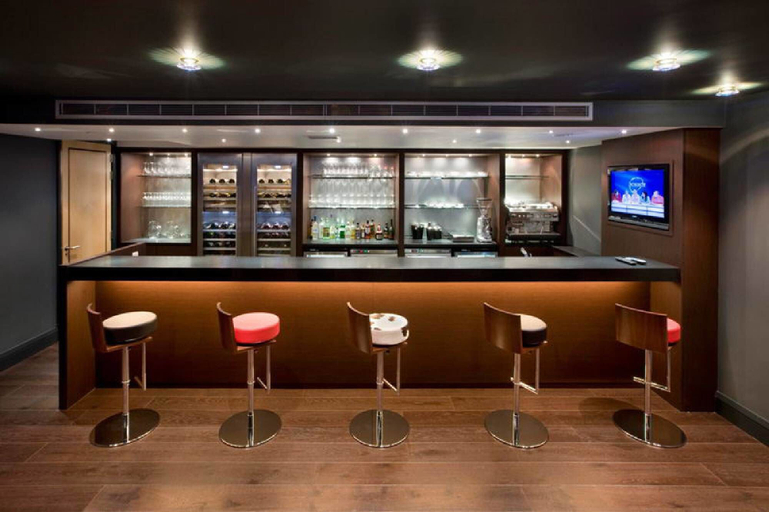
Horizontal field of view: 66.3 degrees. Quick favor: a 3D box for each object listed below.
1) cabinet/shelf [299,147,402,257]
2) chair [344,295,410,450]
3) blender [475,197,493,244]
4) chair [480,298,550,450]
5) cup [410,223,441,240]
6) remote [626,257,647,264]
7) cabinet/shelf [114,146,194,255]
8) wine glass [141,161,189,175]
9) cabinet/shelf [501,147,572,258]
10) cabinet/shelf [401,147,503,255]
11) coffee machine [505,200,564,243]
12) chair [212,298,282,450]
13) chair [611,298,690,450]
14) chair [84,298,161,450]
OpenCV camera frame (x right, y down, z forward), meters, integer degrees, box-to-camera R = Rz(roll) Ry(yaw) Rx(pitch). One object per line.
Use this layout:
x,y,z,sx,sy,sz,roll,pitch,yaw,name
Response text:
-0.549,-0.853,8.822,1.712,1.515,0.535,0,5,3,cabinet/shelf
-0.068,1.099,5.885,0.595,1.338,0.870,-2,8,0,chair
1.524,-0.561,8.969,0.248,0.653,0.571,0,8,9,blender
1.363,1.104,5.863,0.635,1.339,0.855,3,9,29,chair
0.650,-0.378,9.007,0.367,0.155,0.248,1,3,0,cup
2.733,0.051,6.312,0.232,0.050,0.198,-3,8,-11,remote
-3.171,-0.957,8.848,0.968,1.196,0.617,-2,9,4,cabinet/shelf
-3.326,-1.320,8.936,0.747,0.198,0.240,0,2,-7,wine glass
2.227,-0.809,9.110,0.935,1.532,0.837,0,6,5,cabinet/shelf
1.017,-0.884,8.961,1.702,1.499,0.540,0,2,0,cabinet/shelf
2.260,-0.524,8.875,0.926,0.561,0.586,0,1,-2,coffee machine
-1.322,1.089,5.858,0.615,1.350,0.850,-1,8,4,chair
2.666,1.119,5.901,0.680,1.324,0.854,1,9,21,chair
-2.548,1.094,5.821,0.636,1.322,0.779,-1,8,6,chair
